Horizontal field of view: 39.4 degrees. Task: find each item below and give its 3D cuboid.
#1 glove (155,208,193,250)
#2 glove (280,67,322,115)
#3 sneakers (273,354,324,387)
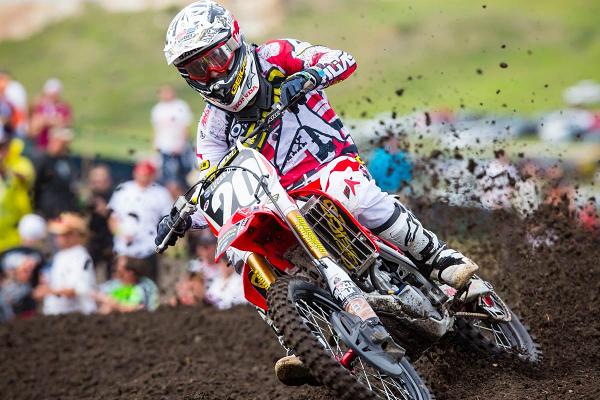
[{"bbox_3d":[-1.239,0.261,8.239,0.173,0.440,0.272,44,10,-19],"label":"glove"},{"bbox_3d":[0.048,-1.051,7.961,0.179,0.299,0.410,51,40,2],"label":"glove"},{"bbox_3d":[-0.024,1.648,7.985,0.373,0.291,0.155,28,53,-7],"label":"sneakers"}]
